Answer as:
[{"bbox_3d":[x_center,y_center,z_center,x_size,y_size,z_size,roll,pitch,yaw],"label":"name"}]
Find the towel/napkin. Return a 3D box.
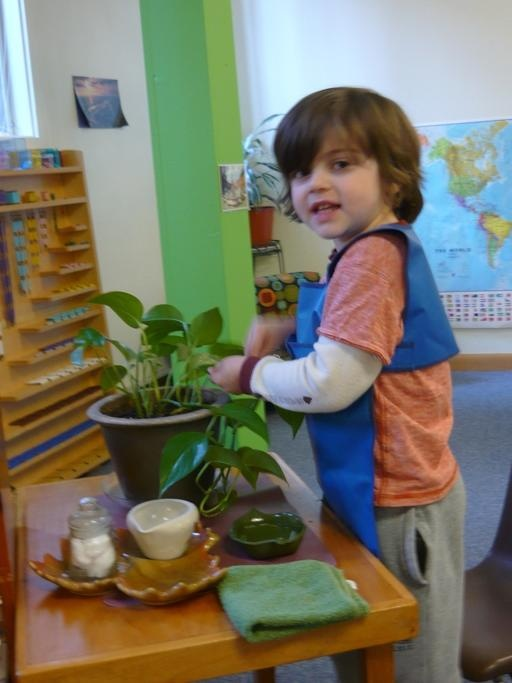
[{"bbox_3d":[0.030,0.248,0.571,0.131,0.032,0.134,-5,6,-15],"label":"towel/napkin"}]

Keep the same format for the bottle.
[{"bbox_3d":[-0.181,0.221,0.629,0.054,0.073,0.052,3,14,-1],"label":"bottle"}]

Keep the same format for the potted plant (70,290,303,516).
[{"bbox_3d":[-0.102,0.074,0.847,0.379,0.246,0.305,14,13,39],"label":"potted plant"}]
